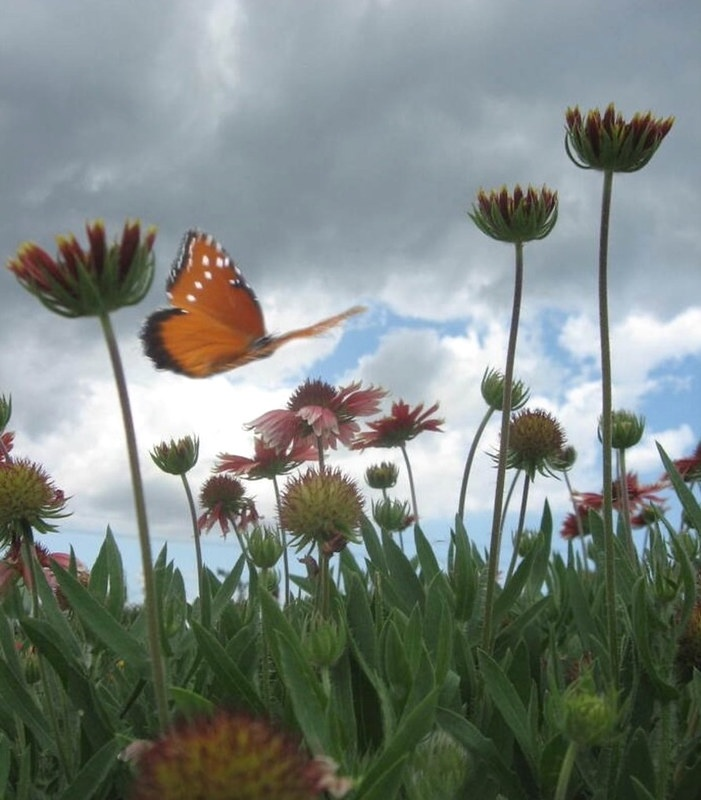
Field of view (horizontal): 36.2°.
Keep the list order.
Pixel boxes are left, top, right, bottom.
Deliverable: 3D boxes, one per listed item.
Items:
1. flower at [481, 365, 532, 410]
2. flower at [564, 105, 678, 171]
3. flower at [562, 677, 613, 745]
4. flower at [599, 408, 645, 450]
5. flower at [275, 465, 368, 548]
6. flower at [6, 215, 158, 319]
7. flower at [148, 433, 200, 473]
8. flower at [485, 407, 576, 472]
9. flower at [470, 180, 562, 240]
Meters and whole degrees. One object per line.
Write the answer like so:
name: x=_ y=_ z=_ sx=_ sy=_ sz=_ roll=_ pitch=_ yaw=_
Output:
flower: x=0.382 y=-0.026 z=2.711 sx=0.075 sy=0.061 sz=0.075 roll=36 pitch=21 yaw=26
flower: x=0.494 y=-0.467 z=1.930 sx=0.195 sy=0.126 sz=0.101 roll=-4 pitch=-5 yaw=6
flower: x=0.328 y=0.449 z=1.473 sx=0.054 sy=0.101 sz=0.081 roll=6 pitch=34 yaw=21
flower: x=0.632 y=0.071 z=2.488 sx=0.093 sy=0.121 sz=0.105 roll=-3 pitch=4 yaw=-31
flower: x=-0.063 y=0.234 z=2.350 sx=0.181 sy=0.185 sz=0.418 roll=-3 pitch=-6 yaw=0
flower: x=-0.371 y=-0.170 z=1.434 sx=0.259 sy=0.134 sz=0.130 roll=-6 pitch=-6 yaw=17
flower: x=-0.559 y=0.177 z=3.490 sx=0.141 sy=0.131 sz=0.166 roll=0 pitch=-6 yaw=-25
flower: x=0.648 y=0.135 z=3.749 sx=0.182 sy=0.242 sz=0.433 roll=-4 pitch=-6 yaw=12
flower: x=0.306 y=-0.349 z=1.988 sx=0.157 sy=0.144 sz=0.162 roll=-4 pitch=-6 yaw=12
